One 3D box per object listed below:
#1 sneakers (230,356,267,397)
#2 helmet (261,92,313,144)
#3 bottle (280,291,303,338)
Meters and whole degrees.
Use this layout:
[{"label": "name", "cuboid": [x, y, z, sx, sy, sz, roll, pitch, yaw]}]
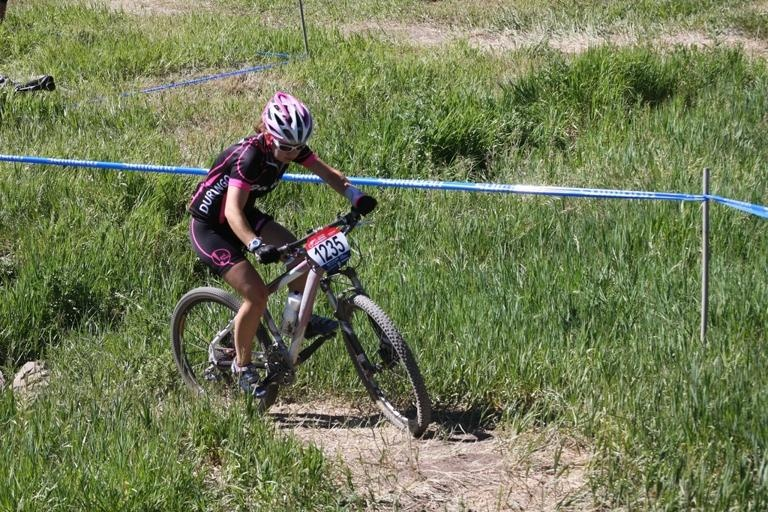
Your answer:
[{"label": "sneakers", "cuboid": [-1.075, 1.023, 7.626, 0.164, 0.170, 0.457, 22, 17, -33]}, {"label": "helmet", "cuboid": [-0.770, -1.090, 7.281, 0.219, 0.322, 0.454, -31, 59, -17]}, {"label": "bottle", "cuboid": [-0.756, 0.477, 7.384, 0.174, 0.331, 0.083, 12, 1, 5]}]
